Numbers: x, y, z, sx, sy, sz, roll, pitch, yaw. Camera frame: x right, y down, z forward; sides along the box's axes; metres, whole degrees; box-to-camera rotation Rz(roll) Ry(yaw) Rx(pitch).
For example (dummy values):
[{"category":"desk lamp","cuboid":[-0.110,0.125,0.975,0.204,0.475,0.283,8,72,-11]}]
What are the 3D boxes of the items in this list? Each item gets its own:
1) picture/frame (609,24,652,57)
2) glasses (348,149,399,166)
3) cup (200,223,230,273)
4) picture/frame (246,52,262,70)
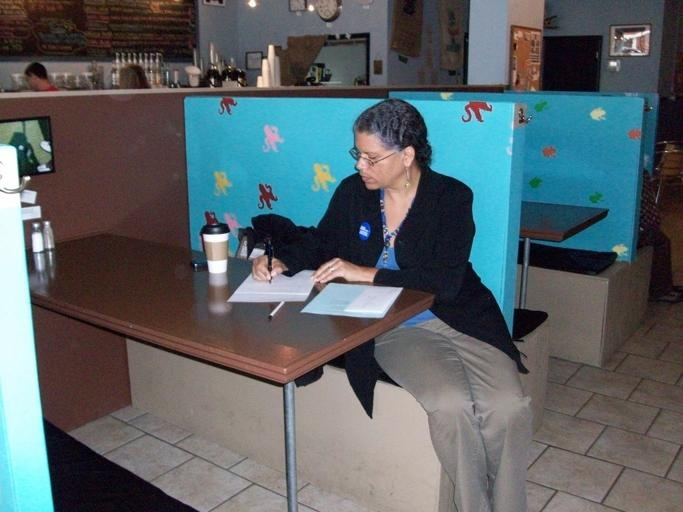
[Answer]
[{"category":"picture/frame","cuboid":[5.034,-3.741,9.281,0.580,0.502,0.065,15,24,39]},{"category":"glasses","cuboid":[0.125,-0.367,1.989,0.113,0.035,0.109,-20,26,-31]},{"category":"cup","cuboid":[-0.471,-0.034,1.972,0.118,0.173,0.120,1,14,0]},{"category":"picture/frame","cuboid":[-1.278,-2.837,7.791,0.352,0.248,0.084,14,23,36]}]
